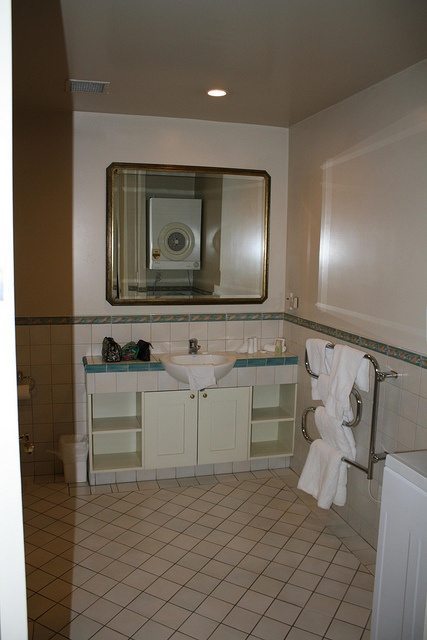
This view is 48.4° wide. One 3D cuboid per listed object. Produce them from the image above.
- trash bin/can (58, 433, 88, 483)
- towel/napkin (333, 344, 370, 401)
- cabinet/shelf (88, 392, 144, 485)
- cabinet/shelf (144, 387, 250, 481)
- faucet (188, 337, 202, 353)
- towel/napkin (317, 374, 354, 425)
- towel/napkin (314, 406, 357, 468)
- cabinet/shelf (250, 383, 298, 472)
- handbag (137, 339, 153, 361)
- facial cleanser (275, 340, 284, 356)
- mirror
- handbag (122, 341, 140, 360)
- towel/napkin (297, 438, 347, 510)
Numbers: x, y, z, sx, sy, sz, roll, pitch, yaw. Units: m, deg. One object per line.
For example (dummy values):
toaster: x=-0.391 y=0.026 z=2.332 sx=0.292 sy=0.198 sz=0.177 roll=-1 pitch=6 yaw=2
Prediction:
trash bin/can: x=-1.076 y=1.064 z=3.656 sx=0.203 sy=0.329 sz=0.238 roll=0 pitch=6 yaw=-19
towel/napkin: x=0.811 y=0.308 z=2.792 sx=0.099 sy=0.247 sz=0.239 roll=0 pitch=6 yaw=-27
cabinet/shelf: x=-0.763 y=0.834 z=3.669 sx=0.394 sy=0.631 sz=0.416 roll=0 pitch=6 yaw=-16
cabinet/shelf: x=-0.163 y=0.791 z=3.854 sx=0.861 sy=0.643 sz=0.482 roll=-2 pitch=10 yaw=-15
faucet: x=-0.152 y=0.210 z=3.828 sx=0.089 sy=0.126 sz=0.097 roll=-1 pitch=5 yaw=-23
towel/napkin: x=0.757 y=0.508 z=3.020 sx=0.087 sy=0.261 sz=0.249 roll=-5 pitch=4 yaw=-8
towel/napkin: x=0.755 y=0.709 z=2.978 sx=0.278 sy=0.260 sz=0.191 roll=5 pitch=7 yaw=30
cabinet/shelf: x=0.481 y=0.823 z=4.009 sx=0.376 sy=0.622 sz=0.403 roll=1 pitch=6 yaw=-5
handbag: x=-0.526 y=0.238 z=3.629 sx=0.053 sy=0.102 sz=0.119 roll=-3 pitch=18 yaw=-27
facial cleanser: x=0.546 y=0.228 z=3.900 sx=0.074 sy=0.119 sz=0.128 roll=2 pitch=6 yaw=8
mirror: x=-0.247 y=-0.730 z=3.823 sx=1.127 sy=1.005 sz=0.055 roll=-1 pitch=6 yaw=-19
handbag: x=-0.627 y=0.235 z=3.574 sx=0.129 sy=0.142 sz=0.101 roll=2 pitch=-11 yaw=-19
towel/napkin: x=0.709 y=0.976 z=3.036 sx=0.191 sy=0.338 sz=0.330 roll=5 pitch=5 yaw=-28
